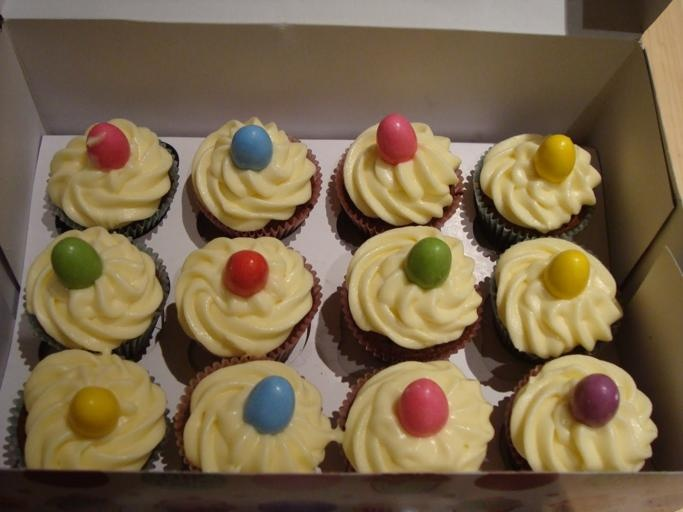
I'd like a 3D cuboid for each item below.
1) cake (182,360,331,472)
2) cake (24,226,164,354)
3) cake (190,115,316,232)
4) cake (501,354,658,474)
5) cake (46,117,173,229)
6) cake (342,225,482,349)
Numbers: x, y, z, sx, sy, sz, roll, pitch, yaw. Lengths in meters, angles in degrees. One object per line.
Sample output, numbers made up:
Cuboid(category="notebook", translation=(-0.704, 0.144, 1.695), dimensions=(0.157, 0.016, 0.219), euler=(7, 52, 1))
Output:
Cuboid(category="cake", translation=(-0.339, 0.680, 2.876), dimensions=(0.649, 0.402, 0.510), euler=(0, 60, -13))
Cuboid(category="cake", translation=(-1.131, 0.225, 3.299), dimensions=(0.516, 0.426, 0.593), euler=(36, 63, 6))
Cuboid(category="cake", translation=(-0.448, -0.414, 3.397), dimensions=(0.624, 0.354, 0.509), euler=(16, 58, -4))
Cuboid(category="cake", translation=(1.015, 0.719, 2.971), dimensions=(0.440, 0.435, 0.545), euler=(-10, 65, -1))
Cuboid(category="cake", translation=(-1.161, -0.432, 3.381), dimensions=(0.593, 0.438, 0.536), euler=(7, 58, -9))
Cuboid(category="cake", translation=(0.348, 0.115, 3.146), dimensions=(0.616, 0.335, 0.557), euler=(-1, 61, -13))
